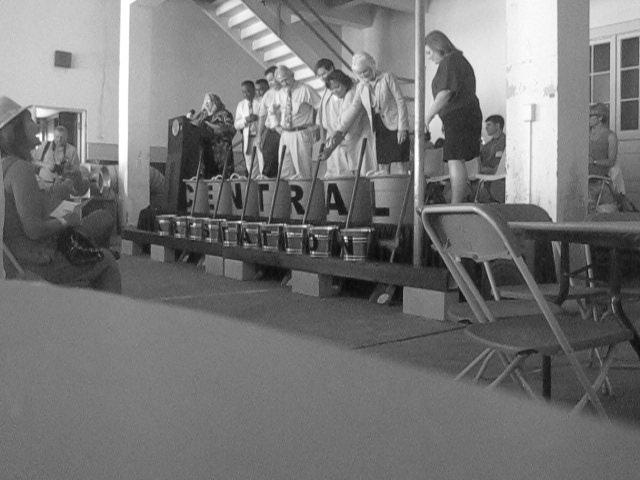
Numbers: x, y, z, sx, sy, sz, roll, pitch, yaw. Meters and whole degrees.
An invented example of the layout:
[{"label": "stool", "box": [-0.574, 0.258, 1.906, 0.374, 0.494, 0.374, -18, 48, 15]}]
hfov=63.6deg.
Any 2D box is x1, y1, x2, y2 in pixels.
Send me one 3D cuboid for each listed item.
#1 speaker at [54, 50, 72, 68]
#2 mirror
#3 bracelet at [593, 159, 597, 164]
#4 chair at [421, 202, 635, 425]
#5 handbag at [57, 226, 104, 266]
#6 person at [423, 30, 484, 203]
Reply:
[{"label": "speaker", "box": [-1.575, -1.086, 3.157, 0.076, 0.120, 0.301, -1, 8, -22]}, {"label": "mirror", "box": [-1.539, -0.612, 3.016, 0.281, 0.312, 0.508, -3, 8, -31]}, {"label": "bracelet", "box": [3.969, -1.120, 7.404, 0.041, 0.064, 0.048, 1, -1, -3]}, {"label": "chair", "box": [0.757, 0.237, 2.068, 0.901, 1.089, 0.599, -3, 3, -30]}, {"label": "handbag", "box": [-1.551, 0.053, 3.302, 0.203, 0.170, 0.086, 37, 40, 3]}, {"label": "person", "box": [1.478, -1.408, 5.734, 0.627, 1.963, 0.973, 2, 5, 18]}]
